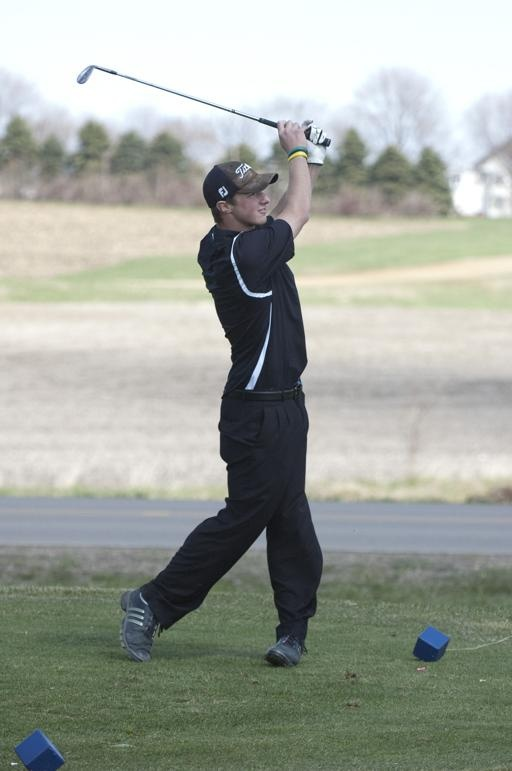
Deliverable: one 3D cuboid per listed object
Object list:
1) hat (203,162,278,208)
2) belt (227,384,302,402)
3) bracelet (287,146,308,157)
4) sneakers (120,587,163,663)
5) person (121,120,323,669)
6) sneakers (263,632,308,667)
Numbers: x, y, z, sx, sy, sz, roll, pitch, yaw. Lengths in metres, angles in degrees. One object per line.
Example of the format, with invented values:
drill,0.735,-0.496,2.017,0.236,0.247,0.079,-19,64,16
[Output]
hat,-0.089,-0.714,5.544,0.262,0.111,0.152,-15,16,8
belt,0.020,0.032,5.535,0.295,0.055,0.152,1,5,-7
bracelet,0.132,-0.843,5.611,0.059,0.026,0.045,-2,3,8
sneakers,-0.432,0.866,5.524,0.139,0.262,0.097,-23,-32,14
person,-0.103,0.034,5.494,0.712,1.900,0.450,1,6,-8
sneakers,0.098,0.945,5.488,0.111,0.097,0.219,4,5,22
